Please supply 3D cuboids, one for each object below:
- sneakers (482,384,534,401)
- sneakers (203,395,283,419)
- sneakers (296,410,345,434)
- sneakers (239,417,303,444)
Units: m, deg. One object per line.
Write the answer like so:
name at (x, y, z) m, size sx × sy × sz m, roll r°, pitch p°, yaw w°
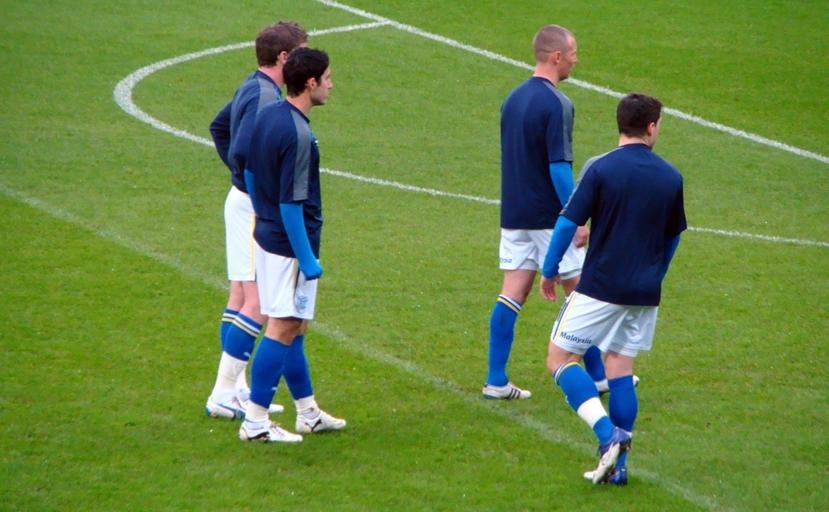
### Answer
sneakers at (1.017, 1.479, 14.234) m, size 0.556 × 0.198 × 0.185 m, roll -1°, pitch 7°, yaw -10°
sneakers at (-1.876, 1.588, 13.838) m, size 0.509 × 0.178 × 0.191 m, roll -1°, pitch 8°, yaw -4°
sneakers at (-0.997, 1.709, 13.679) m, size 0.583 × 0.224 × 0.199 m, roll -1°, pitch 9°, yaw -11°
sneakers at (-1.500, 1.802, 13.603) m, size 0.711 × 0.243 × 0.246 m, roll 2°, pitch 5°, yaw -8°
